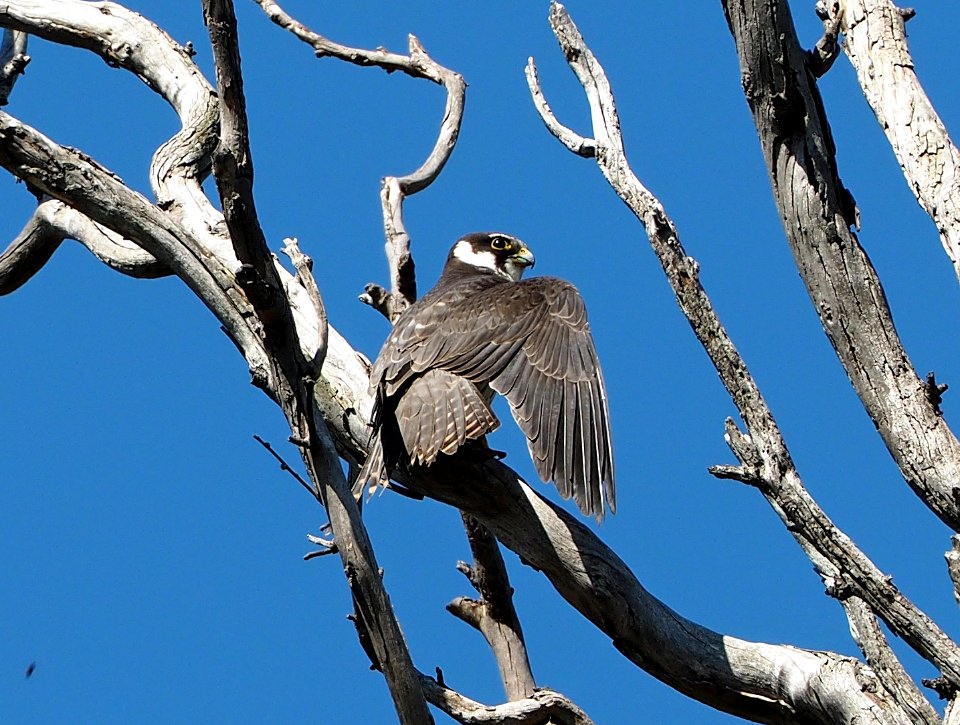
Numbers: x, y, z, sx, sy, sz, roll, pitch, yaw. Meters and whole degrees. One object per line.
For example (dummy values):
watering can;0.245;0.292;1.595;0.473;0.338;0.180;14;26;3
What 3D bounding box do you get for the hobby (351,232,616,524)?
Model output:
hobby;0.050;0.047;9.818;0.948;1.573;1.438;-3;-97;-30
